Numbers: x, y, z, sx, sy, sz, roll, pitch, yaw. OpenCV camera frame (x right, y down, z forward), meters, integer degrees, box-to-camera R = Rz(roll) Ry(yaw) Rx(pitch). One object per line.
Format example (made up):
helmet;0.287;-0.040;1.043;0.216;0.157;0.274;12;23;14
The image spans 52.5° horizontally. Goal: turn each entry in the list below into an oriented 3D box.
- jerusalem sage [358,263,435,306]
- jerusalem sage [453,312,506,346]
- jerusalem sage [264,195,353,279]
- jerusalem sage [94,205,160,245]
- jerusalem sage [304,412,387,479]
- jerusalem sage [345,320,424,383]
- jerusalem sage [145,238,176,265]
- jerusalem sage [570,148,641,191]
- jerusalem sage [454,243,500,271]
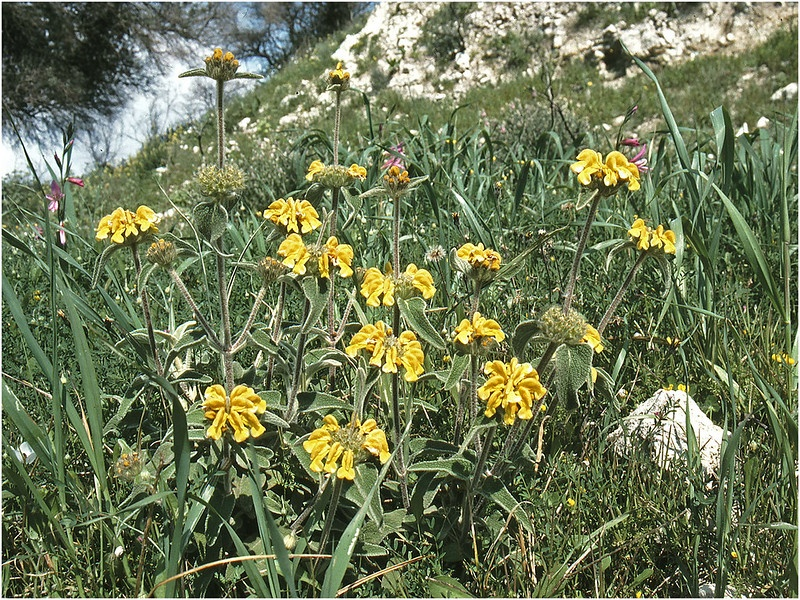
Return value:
jerusalem sage;-0.010;-0.069;3.522;0.305;0.181;0.133;-18;21;-15
jerusalem sage;0.330;0.120;3.386;0.148;0.072;0.157;0;28;0
jerusalem sage;-0.411;-0.259;3.540;0.303;0.358;0.378;-24;24;-30
jerusalem sage;-1.157;-0.322;3.455;0.196;0.097;0.197;-27;31;-23
jerusalem sage;-0.198;0.625;3.365;0.355;0.171;0.385;5;10;29
jerusalem sage;-0.035;0.230;3.438;0.401;0.151;0.405;-23;-9;22
jerusalem sage;-0.995;-0.197;3.407;0.099;0.109;0.104;-12;8;4
jerusalem sage;0.848;-0.542;3.348;0.196;0.088;0.206;20;27;6
jerusalem sage;0.334;-0.178;3.464;0.176;0.128;0.091;-13;20;-1
